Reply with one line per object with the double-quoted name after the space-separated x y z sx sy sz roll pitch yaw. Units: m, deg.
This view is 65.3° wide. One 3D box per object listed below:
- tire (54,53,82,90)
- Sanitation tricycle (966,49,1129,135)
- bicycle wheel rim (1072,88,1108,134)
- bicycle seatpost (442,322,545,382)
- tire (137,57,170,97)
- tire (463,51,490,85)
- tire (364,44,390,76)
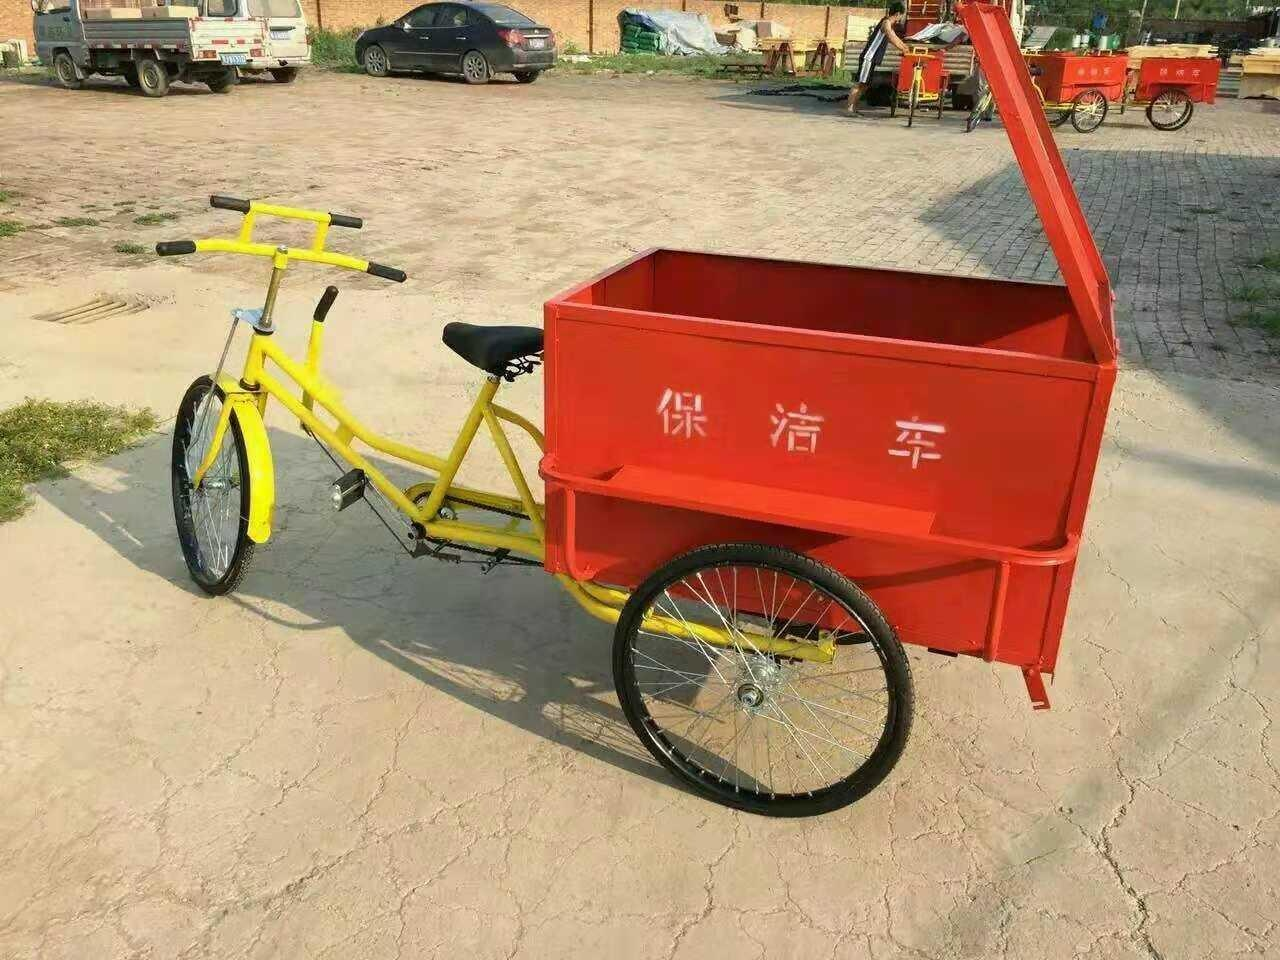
-10.803 -7.742 18.965 0.664 0.551 0.248 32 31 31 "tire"
6.877 -6.674 17.309 2.625 1.061 1.243 -14 33 -25 "Sanitation tricycle"
7.819 -6.460 17.477 0.796 0.554 0.187 4 34 -9 "bicycle wheel rim"
-0.608 -0.536 4.136 0.470 0.262 0.441 -2 17 -13 "bicycle seatpost"
-8.681 -7.217 17.895 0.764 0.564 0.228 8 37 18 "tire"
-3.433 -8.694 21.052 0.619 0.467 0.165 13 43 8 "tire"
-5.785 -9.285 22.084 0.701 0.520 0.167 12 39 9 "tire"
